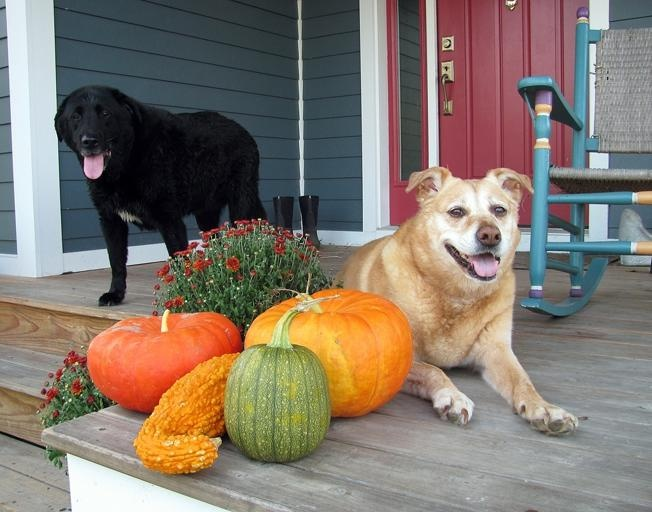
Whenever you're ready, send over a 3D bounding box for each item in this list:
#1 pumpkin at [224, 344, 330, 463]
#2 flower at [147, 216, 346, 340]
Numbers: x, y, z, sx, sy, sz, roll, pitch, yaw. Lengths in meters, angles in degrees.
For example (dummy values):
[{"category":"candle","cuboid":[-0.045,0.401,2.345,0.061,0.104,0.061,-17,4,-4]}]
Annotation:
[{"category":"pumpkin","cuboid":[-0.121,0.358,1.424,0.252,0.269,0.260,1,2,-2]},{"category":"flower","cuboid":[-0.326,0.066,2.287,0.514,0.335,0.579,-4,-1,36]}]
